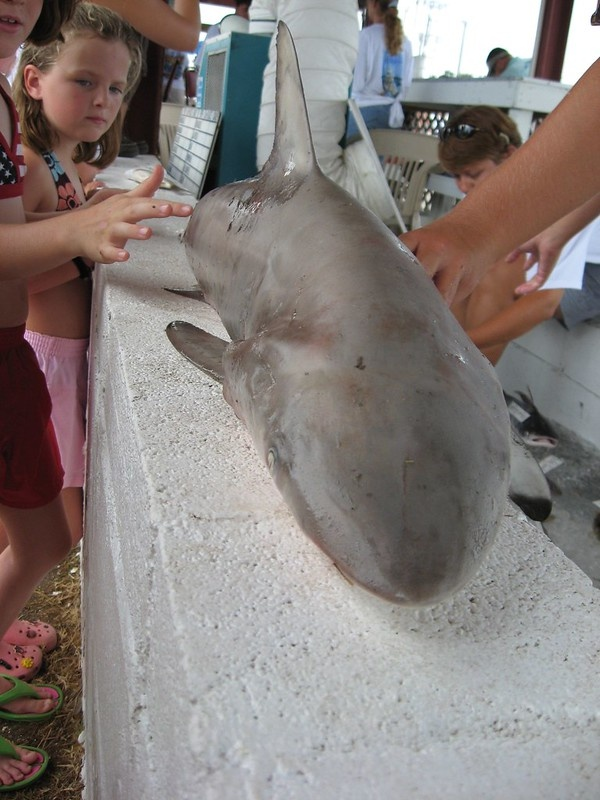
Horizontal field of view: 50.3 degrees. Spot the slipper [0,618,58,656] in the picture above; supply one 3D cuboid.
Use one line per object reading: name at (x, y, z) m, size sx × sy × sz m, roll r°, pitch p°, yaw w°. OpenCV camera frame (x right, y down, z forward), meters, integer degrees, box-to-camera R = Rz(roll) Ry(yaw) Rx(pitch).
slipper at (-0.529, 0.464, 1.255) m, size 0.120 × 0.045 × 0.042 m, roll 6°, pitch 12°, yaw -29°
